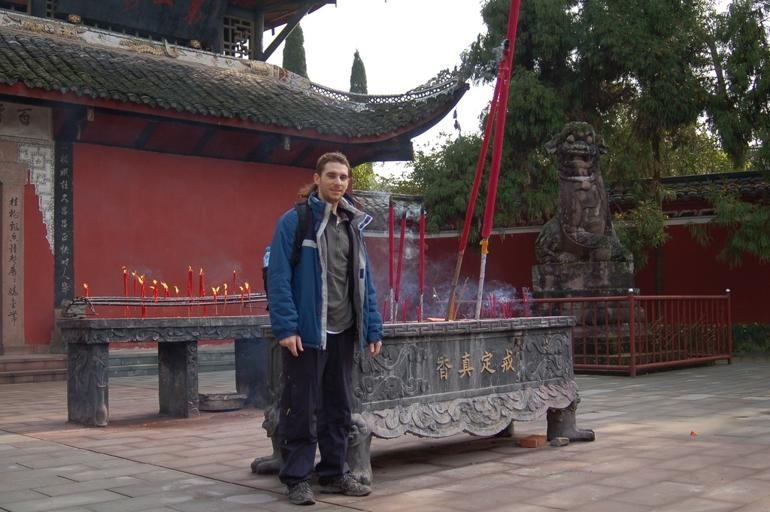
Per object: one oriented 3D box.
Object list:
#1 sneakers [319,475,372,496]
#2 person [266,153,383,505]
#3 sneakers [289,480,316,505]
[{"bbox_3d":[-0.405,2.389,9.687,0.497,0.259,0.216,-1,-5,7],"label":"sneakers"},{"bbox_3d":[-0.626,0.709,9.593,1.141,3.512,0.873,-2,9,-11],"label":"person"},{"bbox_3d":[-0.853,2.419,9.461,0.140,0.159,0.336,2,1,-6],"label":"sneakers"}]
